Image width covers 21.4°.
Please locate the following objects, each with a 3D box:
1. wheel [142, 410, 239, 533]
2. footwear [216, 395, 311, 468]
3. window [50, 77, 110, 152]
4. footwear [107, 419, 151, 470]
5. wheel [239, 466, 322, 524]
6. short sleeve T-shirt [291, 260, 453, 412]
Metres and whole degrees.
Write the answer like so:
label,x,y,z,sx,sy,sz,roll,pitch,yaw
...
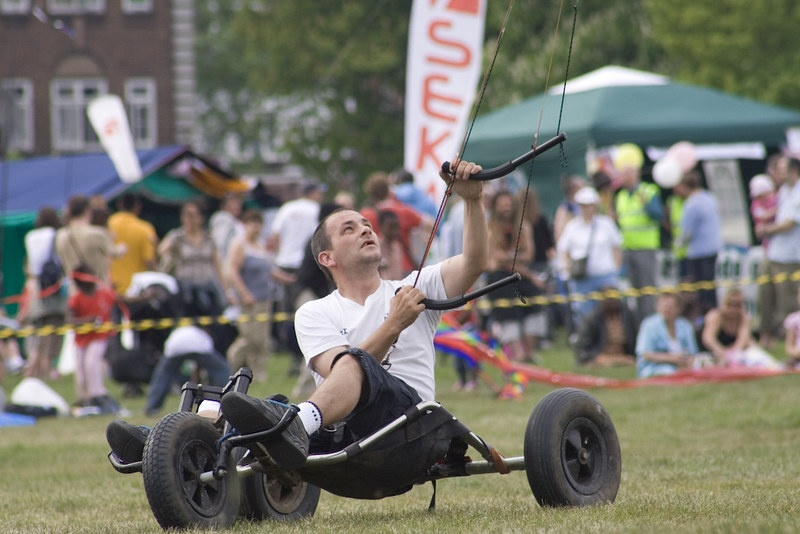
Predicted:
label,x,y,z,sx,sy,sz,roll,pitch,yaw
wheel,-1.458,1.454,14.882,0.209,0.637,0.701,-4,-20,44
footwear,-0.934,1.136,14.690,0.613,0.528,0.157,1,-1,-7
window,-2.398,-1.159,15.801,0.505,0.630,0.041,-1,4,-6
footwear,-1.921,1.227,15.035,0.375,0.214,0.252,41,1,1
wheel,-0.880,1.636,15.200,0.402,0.418,0.133,3,-9,-41
short sleeve T-shirt,-0.205,0.559,15.387,1.376,1.342,0.831,-5,-32,-3
